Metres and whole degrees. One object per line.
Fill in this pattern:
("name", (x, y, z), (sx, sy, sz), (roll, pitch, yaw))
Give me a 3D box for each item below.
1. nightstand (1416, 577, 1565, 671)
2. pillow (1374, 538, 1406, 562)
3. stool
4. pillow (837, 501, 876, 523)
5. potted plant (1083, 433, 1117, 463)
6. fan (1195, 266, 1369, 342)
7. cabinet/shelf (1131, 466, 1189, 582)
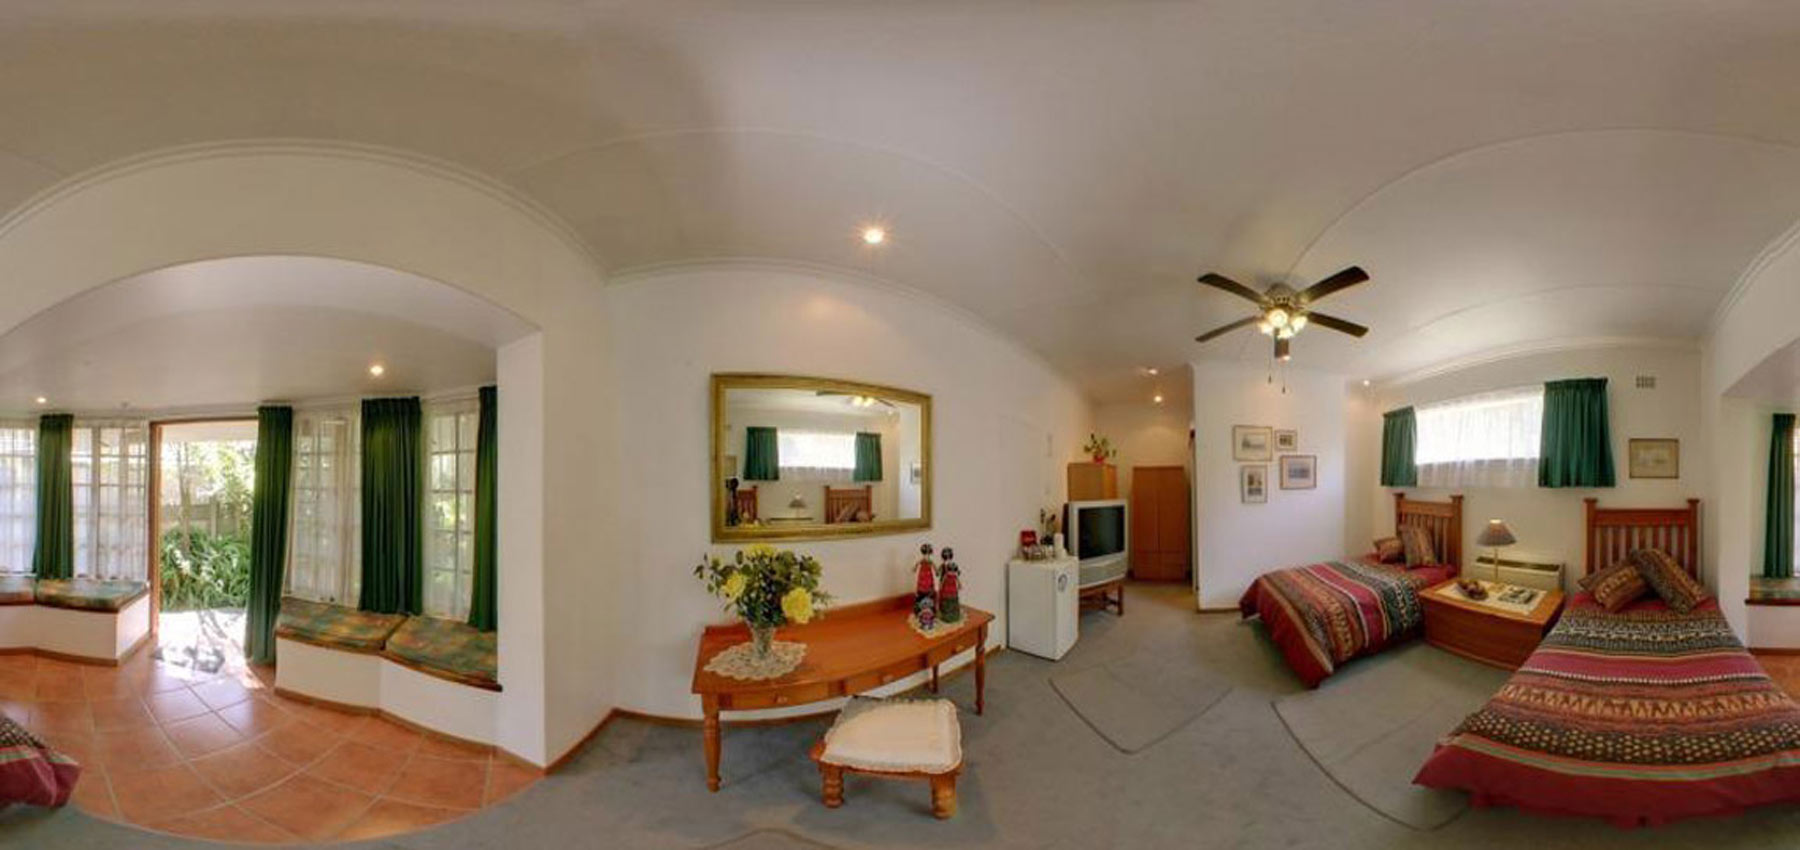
("nightstand", (6.320, 2.199, 10.658), (1.422, 0.812, 1.182), (1, 1, 27))
("pillow", (5.770, 1.487, 11.699), (0.299, 0.131, 0.283), (0, -4, 18))
("stool", (-0.072, 3.077, 9.096), (1.568, 0.916, 1.349), (0, -1, 7))
("pillow", (-0.427, 0.894, 10.061), (0.250, 0.219, 0.096), (8, -39, 2))
("potted plant", (2.706, 0.316, 13.021), (0.541, 0.463, 0.452), (2, -10, -4))
("fan", (3.922, -1.242, 9.769), (1.798, 0.662, 1.246), (-2, -4, 44))
("cabinet/shelf", (3.436, 1.318, 13.095), (0.779, 1.477, 0.221), (-1, -4, 11))
